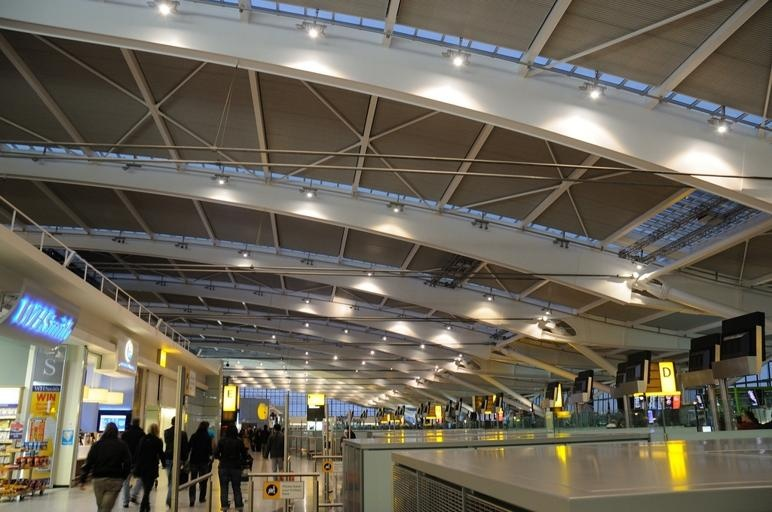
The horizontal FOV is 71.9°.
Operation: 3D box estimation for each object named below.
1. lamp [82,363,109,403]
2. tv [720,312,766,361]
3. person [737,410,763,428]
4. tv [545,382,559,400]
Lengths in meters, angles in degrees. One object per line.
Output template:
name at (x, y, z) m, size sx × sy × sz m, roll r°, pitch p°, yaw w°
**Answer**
lamp at (-13.937, 6.205, 25.486) m, size 0.993 × 1.688 × 3.741 m, roll 11°, pitch -24°, yaw -25°
tv at (11.926, 2.745, 17.755) m, size 1.073 × 1.655 × 1.656 m, roll 14°, pitch -20°, yaw -2°
person at (10.519, 4.796, 15.502) m, size 0.583 × 0.558 × 1.031 m, roll -14°, pitch -25°, yaw 28°
tv at (11.543, 9.462, 36.951) m, size 0.758 × 1.126 × 1.349 m, roll 12°, pitch -19°, yaw -2°
